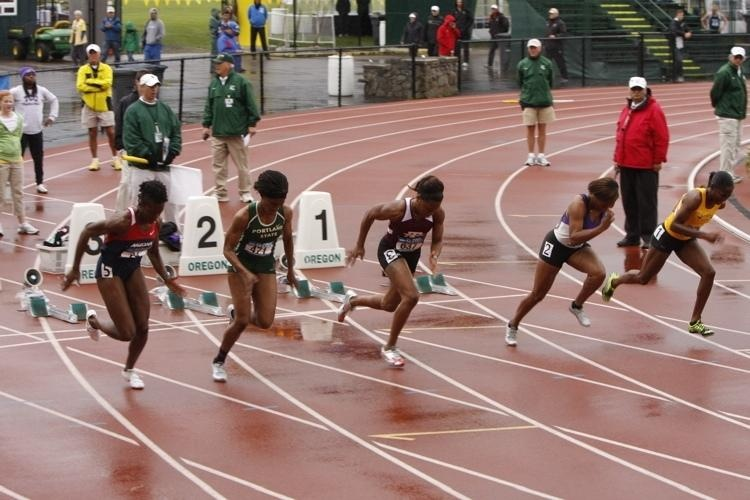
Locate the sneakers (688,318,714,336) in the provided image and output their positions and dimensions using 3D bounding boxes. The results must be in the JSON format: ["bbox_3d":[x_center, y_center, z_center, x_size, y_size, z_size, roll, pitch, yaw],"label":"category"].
[{"bbox_3d":[3.907,0.925,10.391,0.345,0.148,0.141,5,12,24],"label":"sneakers"}]

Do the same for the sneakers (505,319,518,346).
[{"bbox_3d":[1.624,0.993,10.341,0.113,0.296,0.134,0,-18,-12],"label":"sneakers"}]

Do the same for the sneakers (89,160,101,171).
[{"bbox_3d":[-6.153,-1.867,18.800,0.175,0.186,0.443,3,4,1],"label":"sneakers"}]

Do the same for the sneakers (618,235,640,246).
[{"bbox_3d":[4.203,-0.169,14.278,0.400,0.259,0.140,2,14,12],"label":"sneakers"}]

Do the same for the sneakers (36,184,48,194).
[{"bbox_3d":[-6.496,-1.205,16.758,0.131,0.123,0.309,-9,7,-39],"label":"sneakers"}]

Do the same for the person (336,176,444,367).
[{"bbox_3d":[0.294,0.190,9.780,1.323,2.157,0.771,4,13,29],"label":"person"}]

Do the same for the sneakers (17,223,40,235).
[{"bbox_3d":[-5.741,-0.349,14.196,0.363,0.150,0.163,4,8,18],"label":"sneakers"}]

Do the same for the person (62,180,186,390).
[{"bbox_3d":[-2.599,0.365,8.894,1.072,2.199,0.455,-1,12,4],"label":"person"}]

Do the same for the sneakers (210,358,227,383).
[{"bbox_3d":[-1.686,1.302,9.260,0.126,0.099,0.240,-3,34,-24],"label":"sneakers"}]

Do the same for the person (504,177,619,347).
[{"bbox_3d":[2.236,0.127,10.148,1.179,1.993,0.838,2,12,17],"label":"person"}]

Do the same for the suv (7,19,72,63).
[{"bbox_3d":[-13.934,-9.000,36.685,2.977,1.627,1.927,6,9,24],"label":"suv"}]

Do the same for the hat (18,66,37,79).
[{"bbox_3d":[-6.522,-3.326,16.022,0.331,0.237,0.248,6,12,20],"label":"hat"}]

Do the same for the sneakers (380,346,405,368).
[{"bbox_3d":[0.209,1.219,9.736,0.314,0.117,0.145,29,23,29],"label":"sneakers"}]

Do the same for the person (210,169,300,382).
[{"bbox_3d":[-1.302,0.277,9.090,0.918,2.272,0.789,-3,12,-6],"label":"person"}]

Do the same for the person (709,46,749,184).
[{"bbox_3d":[6.843,-2.673,16.529,0.725,2.372,0.573,-11,15,-38],"label":"person"}]

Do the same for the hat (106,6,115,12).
[{"bbox_3d":[-9.975,-9.073,32.272,0.335,0.248,0.505,0,11,-9],"label":"hat"}]

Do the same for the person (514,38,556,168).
[{"bbox_3d":[3.586,-3.288,19.252,0.789,2.817,0.943,0,12,9],"label":"person"}]

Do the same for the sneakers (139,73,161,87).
[{"bbox_3d":[-3.398,-2.568,12.881,0.215,0.117,0.291,0,12,-28],"label":"sneakers"}]

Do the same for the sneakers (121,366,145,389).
[{"bbox_3d":[-2.555,1.352,9.045,0.123,0.138,0.347,-8,11,-39],"label":"sneakers"}]

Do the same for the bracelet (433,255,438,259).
[{"bbox_3d":[0.684,0.065,9.754,0.045,0.036,0.062,-15,2,-30],"label":"bracelet"}]
